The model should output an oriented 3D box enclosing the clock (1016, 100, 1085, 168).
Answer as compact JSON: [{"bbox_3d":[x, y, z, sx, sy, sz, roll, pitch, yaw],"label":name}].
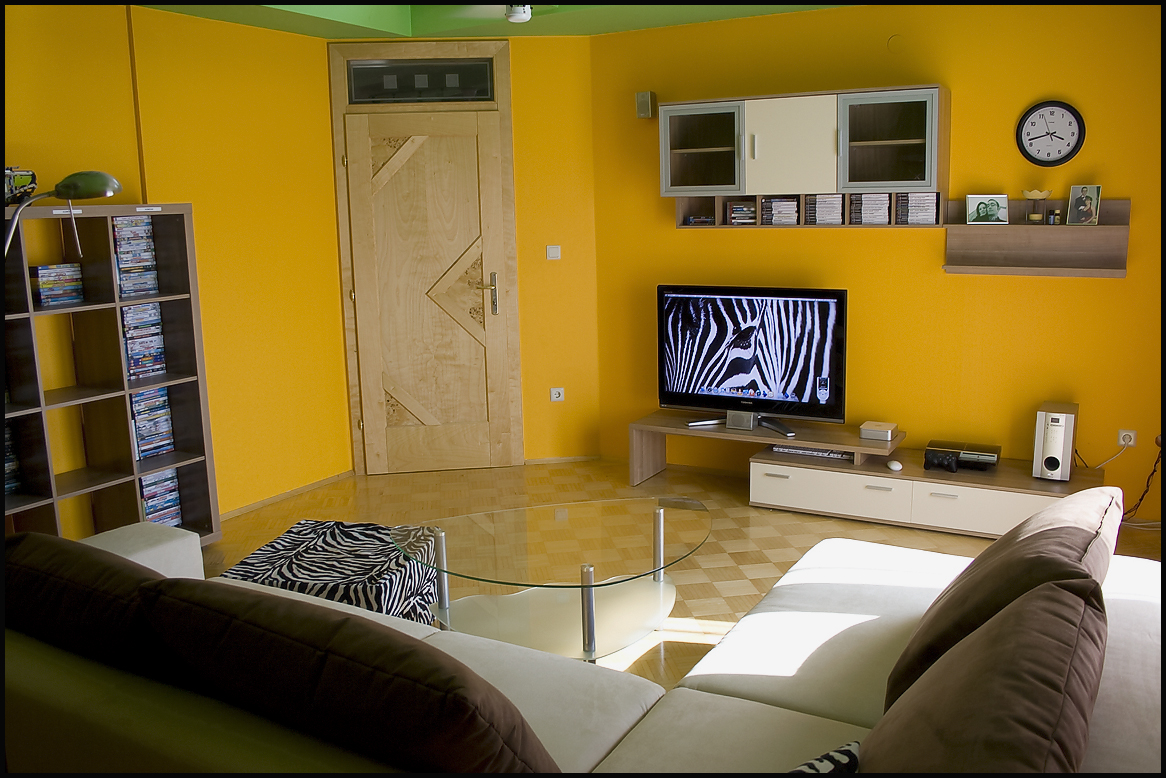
[{"bbox_3d":[2.738,-1.505,4.973,0.392,0.350,0.373,3,10,17],"label":"clock"}]

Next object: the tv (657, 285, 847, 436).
[{"bbox_3d":[1.188,-0.208,5.566,1.142,0.656,0.046,5,15,29],"label":"tv"}]

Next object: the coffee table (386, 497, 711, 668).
[{"bbox_3d":[-0.018,0.885,3.893,1.610,0.412,0.993,-4,14,-32],"label":"coffee table"}]

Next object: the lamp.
[{"bbox_3d":[-2.722,-0.919,4.318,0.517,0.415,0.740,-8,13,-30],"label":"lamp"}]

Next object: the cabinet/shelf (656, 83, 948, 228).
[{"bbox_3d":[1.444,-1.472,5.477,1.811,0.808,0.432,7,20,30],"label":"cabinet/shelf"}]
